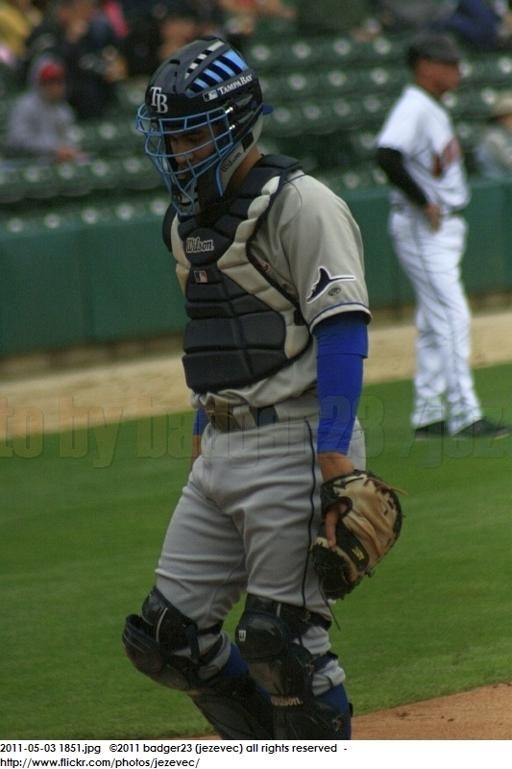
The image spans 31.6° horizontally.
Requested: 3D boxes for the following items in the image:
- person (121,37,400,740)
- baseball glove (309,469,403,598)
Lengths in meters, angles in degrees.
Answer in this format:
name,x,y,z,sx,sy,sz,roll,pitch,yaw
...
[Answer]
name,x,y,z,sx,sy,sz,roll,pitch,yaw
person,0.017,0.029,1.952,0.599,1.546,0.569,2,15,24
baseball glove,0.192,0.296,1.806,0.112,0.268,0.214,4,15,32
